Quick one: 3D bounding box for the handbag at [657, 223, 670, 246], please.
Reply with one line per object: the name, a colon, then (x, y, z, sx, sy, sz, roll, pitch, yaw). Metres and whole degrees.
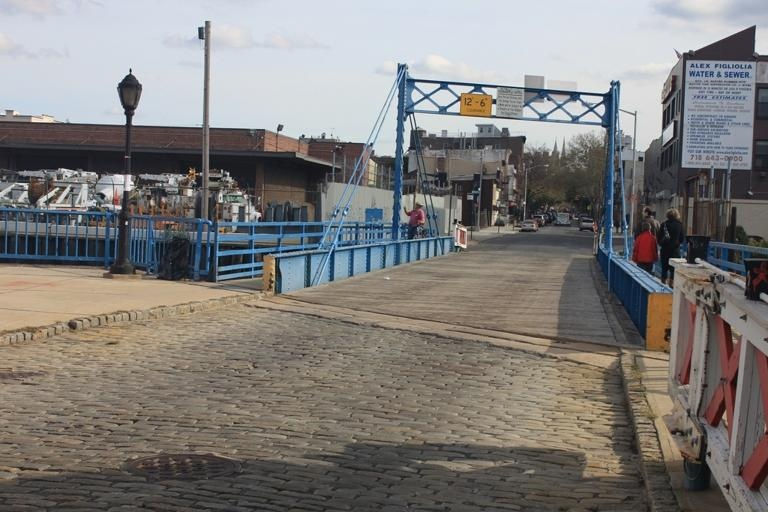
handbag: (6.705, -0.502, 21.387, 0.148, 0.548, 0.478, 1, 11, -4)

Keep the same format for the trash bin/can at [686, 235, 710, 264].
trash bin/can: (3.510, -0.069, 10.024, 0.343, 0.356, 0.287, 1, -3, -4)
